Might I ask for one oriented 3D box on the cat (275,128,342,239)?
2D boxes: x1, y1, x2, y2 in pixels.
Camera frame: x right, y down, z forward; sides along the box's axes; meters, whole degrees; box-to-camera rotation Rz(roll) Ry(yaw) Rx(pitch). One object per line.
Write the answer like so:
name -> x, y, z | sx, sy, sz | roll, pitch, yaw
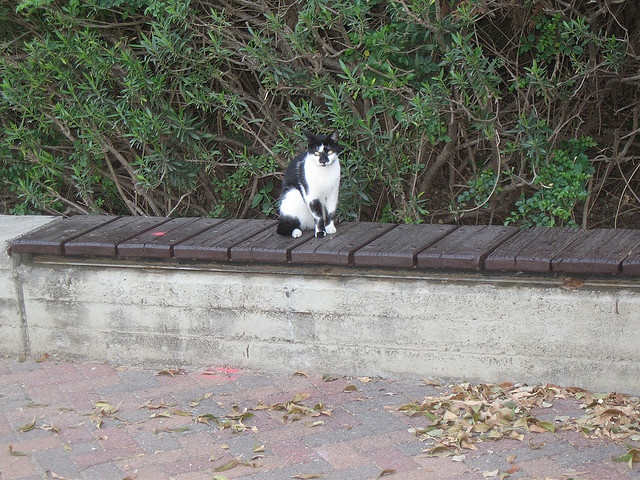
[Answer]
cat -> -0.082, -0.367, 4.499 | 0.409, 0.682, 0.290 | -1, 9, 2
